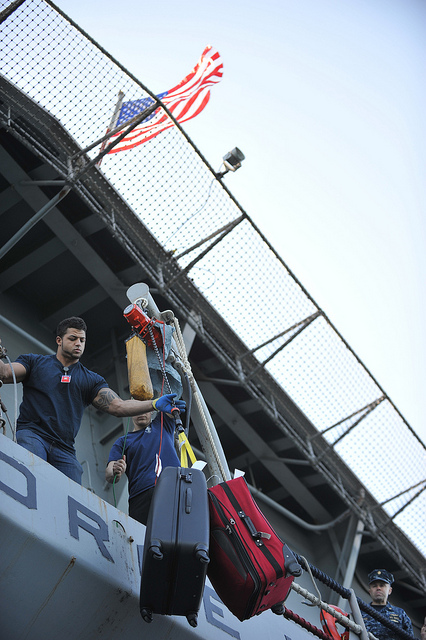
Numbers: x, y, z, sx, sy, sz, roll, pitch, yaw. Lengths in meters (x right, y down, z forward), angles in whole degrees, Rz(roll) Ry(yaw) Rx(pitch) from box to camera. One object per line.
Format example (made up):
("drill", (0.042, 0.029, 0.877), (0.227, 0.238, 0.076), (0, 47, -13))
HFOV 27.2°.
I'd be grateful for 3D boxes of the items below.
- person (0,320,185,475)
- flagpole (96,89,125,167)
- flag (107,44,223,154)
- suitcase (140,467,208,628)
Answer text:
("person", (-1.002, 0.675, 7.323), (1.269, 0.871, 1.502), (41, 20, -25))
("flagpole", (-1.122, -2.084, 9.556), (0.074, 0.851, 0.712), (17, 13, -10))
("flag", (-0.582, -2.391, 9.635), (0.751, 1.395, 1.705), (22, 14, 11))
("suitcase", (-0.211, 1.284, 4.856), (0.364, 0.538, 0.926), (4, 18, -1))
